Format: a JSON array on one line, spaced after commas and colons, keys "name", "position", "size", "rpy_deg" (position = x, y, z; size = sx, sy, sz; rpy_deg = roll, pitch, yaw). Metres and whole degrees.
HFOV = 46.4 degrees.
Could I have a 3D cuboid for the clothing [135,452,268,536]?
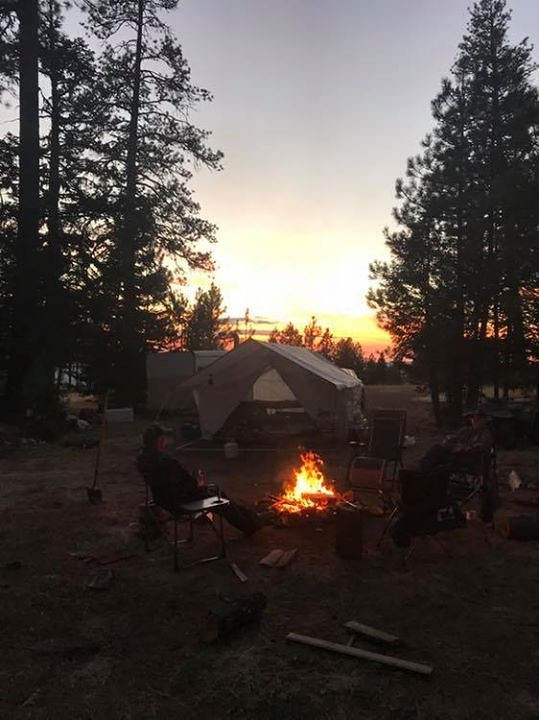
[{"name": "clothing", "position": [-0.585, 1.349, 6.189], "size": [1.073, 0.793, 0.524], "rpy_deg": [-11, 0, 30]}]
